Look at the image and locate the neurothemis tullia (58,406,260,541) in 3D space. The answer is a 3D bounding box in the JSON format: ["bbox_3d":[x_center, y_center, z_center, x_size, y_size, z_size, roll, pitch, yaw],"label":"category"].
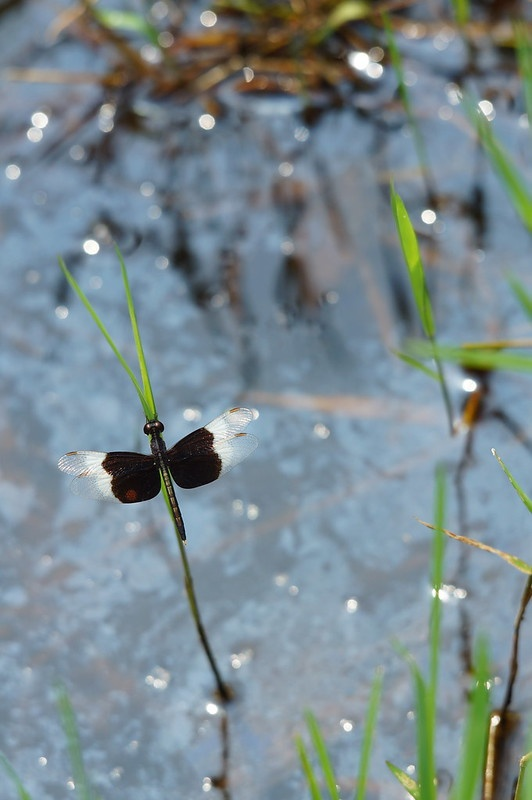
[{"bbox_3d":[-0.158,0.127,1.343,0.325,0.064,0.184,-14,95,-28],"label":"neurothemis tullia"}]
